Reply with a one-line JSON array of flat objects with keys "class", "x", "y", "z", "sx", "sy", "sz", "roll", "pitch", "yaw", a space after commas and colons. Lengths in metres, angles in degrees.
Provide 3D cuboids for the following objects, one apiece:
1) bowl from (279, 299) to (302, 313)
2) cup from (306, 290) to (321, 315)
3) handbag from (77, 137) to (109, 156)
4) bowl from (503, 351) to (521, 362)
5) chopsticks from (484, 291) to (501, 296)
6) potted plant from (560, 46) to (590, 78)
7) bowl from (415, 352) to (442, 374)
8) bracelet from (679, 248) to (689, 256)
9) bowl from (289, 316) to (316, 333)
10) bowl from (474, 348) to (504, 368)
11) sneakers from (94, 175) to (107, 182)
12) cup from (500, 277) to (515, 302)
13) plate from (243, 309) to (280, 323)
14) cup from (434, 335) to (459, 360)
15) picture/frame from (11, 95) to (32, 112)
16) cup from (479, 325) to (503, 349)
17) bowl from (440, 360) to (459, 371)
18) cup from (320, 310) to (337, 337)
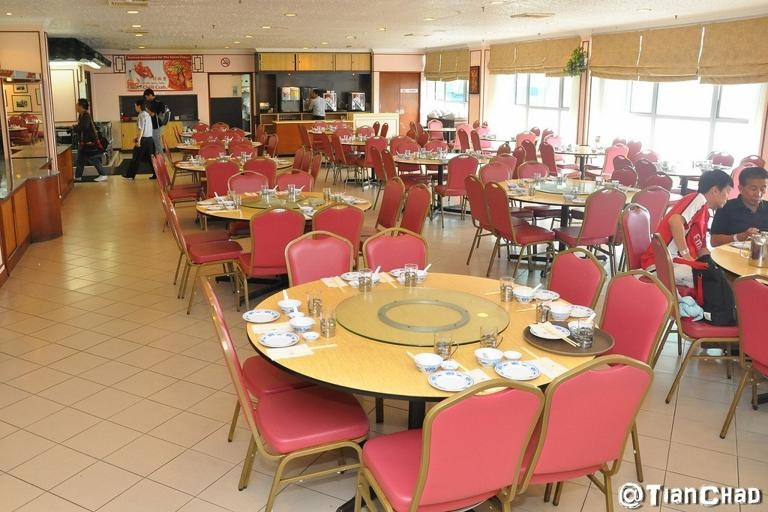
[{"class": "bowl", "x": -0.617, "y": 0.324, "z": 3.488, "sx": 0.101, "sy": 0.031, "sz": 0.092, "roll": 0, "pitch": 22, "yaw": 0}, {"class": "cup", "x": -0.446, "y": 0.310, "z": 3.413, "sx": 0.086, "sy": 0.146, "sz": 0.102, "roll": -4, "pitch": 15, "yaw": -11}, {"class": "handbag", "x": -6.655, "y": -2.594, "z": 12.305, "sx": 0.658, "sy": 0.546, "sz": 0.419, "roll": -7, "pitch": 38, "yaw": -14}, {"class": "bowl", "x": 0.712, "y": 0.555, "z": 2.963, "sx": 0.063, "sy": 0.020, "sz": 0.063, "roll": -2, "pitch": 16, "yaw": 1}, {"class": "chopsticks", "x": 0.753, "y": 0.266, "z": 3.723, "sx": 0.219, "sy": 0.024, "sz": 0.025, "roll": -3, "pitch": -3, "yaw": 2}, {"class": "potted plant", "x": 4.150, "y": -4.205, "z": 11.535, "sx": 0.467, "sy": 0.608, "sz": 0.489, "roll": 5, "pitch": 16, "yaw": 20}, {"class": "bowl", "x": 0.245, "y": 0.578, "z": 2.876, "sx": 0.111, "sy": 0.038, "sz": 0.102, "roll": -1, "pitch": 16, "yaw": 0}, {"class": "bracelet", "x": 2.465, "y": -0.027, "z": 4.395, "sx": 0.065, "sy": 0.041, "sz": 0.062, "roll": -24, "pitch": 5, "yaw": 24}, {"class": "bowl", "x": -0.496, "y": 0.420, "z": 3.258, "sx": 0.160, "sy": 0.071, "sz": 0.146, "roll": -1, "pitch": 14, "yaw": 0}, {"class": "bowl", "x": 0.571, "y": 0.557, "z": 2.928, "sx": 0.112, "sy": 0.041, "sz": 0.103, "roll": -1, "pitch": 20, "yaw": 0}, {"class": "sneakers", "x": -6.673, "y": -1.825, "z": 12.585, "sx": 0.242, "sy": 0.091, "sz": 0.143, "roll": -10, "pitch": 17, "yaw": -44}, {"class": "cup", "x": 0.833, "y": 0.235, "z": 3.628, "sx": 0.088, "sy": 0.134, "sz": 0.112, "roll": 2, "pitch": 15, "yaw": 12}, {"class": "plate", "x": -0.773, "y": 0.397, "z": 3.369, "sx": 0.129, "sy": 0.015, "sz": 0.120, "roll": -6, "pitch": 25, "yaw": -27}, {"class": "cup", "x": 0.347, "y": 0.497, "z": 3.010, "sx": 0.117, "sy": 0.116, "sz": 0.209, "roll": 3, "pitch": 14, "yaw": 15}, {"class": "picture/frame", "x": -6.592, "y": -2.774, "z": 9.702, "sx": 0.362, "sy": 0.307, "sz": 0.023, "roll": -6, "pitch": 13, "yaw": -39}, {"class": "cup", "x": 0.624, "y": 0.477, "z": 3.095, "sx": 0.147, "sy": 0.119, "sz": 0.083, "roll": 1, "pitch": 18, "yaw": -2}, {"class": "bowl", "x": 0.353, "y": 0.593, "z": 2.877, "sx": 0.082, "sy": 0.037, "sz": 0.102, "roll": 10, "pitch": 17, "yaw": 37}, {"class": "cup", "x": -0.304, "y": 0.416, "z": 3.212, "sx": 0.098, "sy": 0.129, "sz": 0.144, "roll": 0, "pitch": 15, "yaw": -3}]
